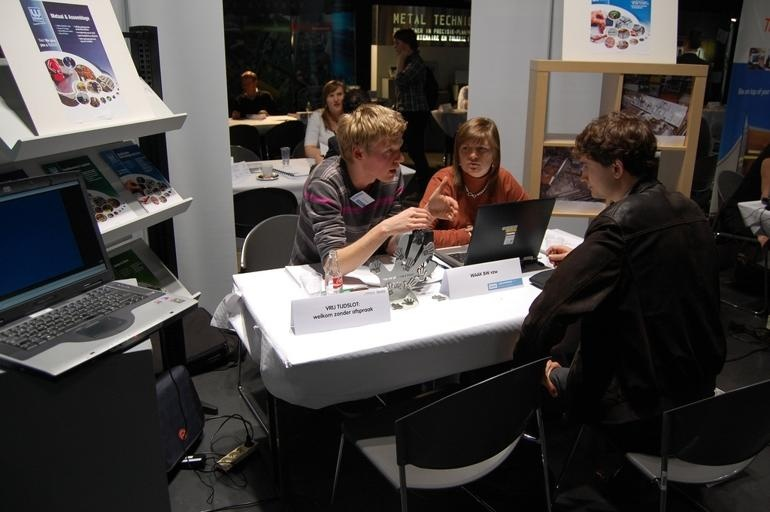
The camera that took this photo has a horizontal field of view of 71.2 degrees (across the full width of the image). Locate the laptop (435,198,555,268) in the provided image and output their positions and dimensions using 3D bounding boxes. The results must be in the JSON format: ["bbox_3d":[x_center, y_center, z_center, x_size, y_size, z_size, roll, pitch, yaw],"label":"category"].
[{"bbox_3d":[0.554,-0.133,2.593,0.426,0.309,0.363,-8,21,-25],"label":"laptop"}]

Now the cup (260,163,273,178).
[{"bbox_3d":[-0.985,-0.706,4.486,0.102,0.106,0.136,3,2,25],"label":"cup"}]

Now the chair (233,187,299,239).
[{"bbox_3d":[-0.892,-0.390,4.174,0.388,0.527,0.378,-2,24,-11],"label":"chair"}]

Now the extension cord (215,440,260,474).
[{"bbox_3d":[-0.762,1.020,2.744,0.094,0.048,0.186,12,21,29],"label":"extension cord"}]

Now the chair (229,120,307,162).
[{"bbox_3d":[-1.242,-1.219,5.742,0.832,0.413,0.569,-11,22,-31],"label":"chair"}]

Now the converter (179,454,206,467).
[{"bbox_3d":[-0.981,1.038,2.720,0.073,0.028,0.077,1,3,19],"label":"converter"}]

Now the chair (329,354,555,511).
[{"bbox_3d":[0.224,0.744,2.223,0.493,0.722,0.488,-15,32,-25],"label":"chair"}]
